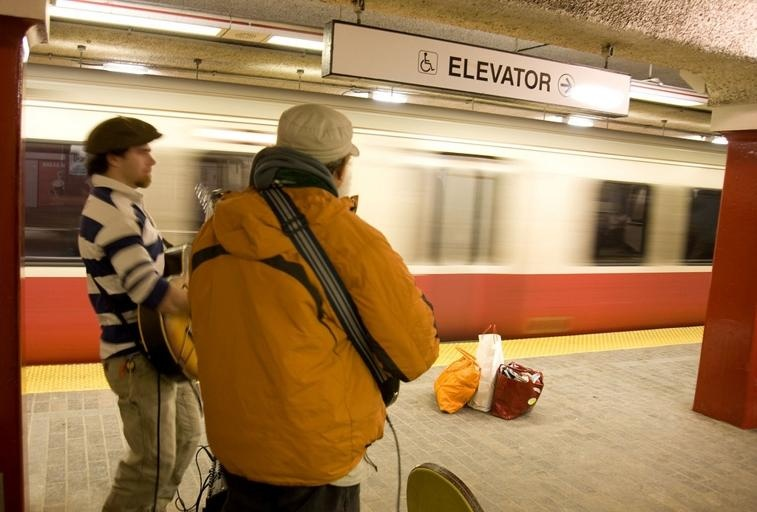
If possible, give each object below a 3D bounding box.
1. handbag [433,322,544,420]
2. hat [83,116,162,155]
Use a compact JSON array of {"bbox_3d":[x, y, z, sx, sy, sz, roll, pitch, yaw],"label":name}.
[{"bbox_3d":[1.328,1.315,6.079,1.195,0.929,0.899,2,3,14],"label":"handbag"},{"bbox_3d":[-1.568,-0.769,3.099,0.466,0.163,0.298,-3,24,14],"label":"hat"}]
